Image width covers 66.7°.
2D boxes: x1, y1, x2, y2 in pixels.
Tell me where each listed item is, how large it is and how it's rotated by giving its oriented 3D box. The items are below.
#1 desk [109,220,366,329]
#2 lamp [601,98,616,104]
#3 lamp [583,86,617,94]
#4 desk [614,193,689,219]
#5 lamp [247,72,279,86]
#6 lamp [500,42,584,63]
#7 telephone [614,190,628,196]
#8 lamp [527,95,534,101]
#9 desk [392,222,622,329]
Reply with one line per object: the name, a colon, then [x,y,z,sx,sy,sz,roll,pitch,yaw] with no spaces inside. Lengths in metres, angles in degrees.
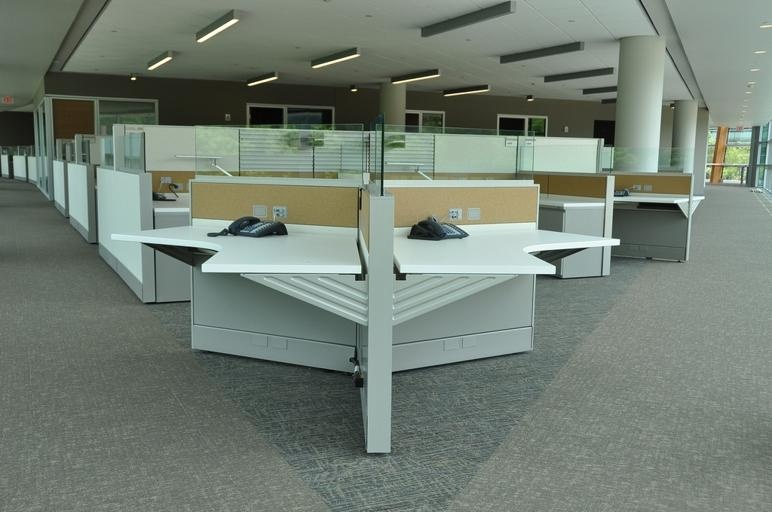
desk: [-0.899,0.062,4.464,1.420,0.550,2.017,-8,11,-44]
lamp: [8.146,-5.628,21.591,0.455,0.131,1.803,1,8,16]
lamp: [6.673,-5.171,18.397,1.066,0.164,0.629,4,13,29]
desk: [3.927,-0.733,8.641,0.924,0.338,1.306,4,9,35]
lamp: [-3.621,-5.163,17.259,0.805,0.246,2.605,-3,8,-15]
lamp: [3.324,-4.376,12.767,0.422,0.215,2.378,-6,9,-34]
telephone: [3.636,-0.973,9.086,0.128,0.118,0.351,6,10,36]
lamp: [5.184,-5.650,21.192,0.159,0.090,0.230,-9,-7,44]
desk: [0.697,0.131,4.409,1.304,0.526,2.023,5,9,37]
